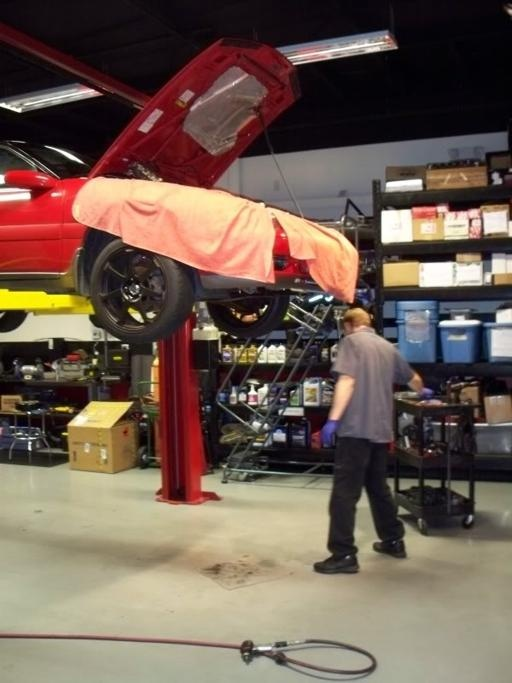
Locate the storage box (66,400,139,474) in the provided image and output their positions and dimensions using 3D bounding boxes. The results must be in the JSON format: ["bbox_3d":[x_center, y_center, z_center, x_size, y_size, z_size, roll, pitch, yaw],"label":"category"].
[{"bbox_3d":[-1.602,1.017,6.673,0.712,0.695,0.529,-2,-1,27],"label":"storage box"}]

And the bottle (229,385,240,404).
[{"bbox_3d":[-0.229,0.551,6.399,0.096,0.184,0.295,-1,-1,-3],"label":"bottle"}]

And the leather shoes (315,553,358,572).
[{"bbox_3d":[0.464,1.255,3.513,0.266,0.105,0.095,3,-3,5],"label":"leather shoes"}]

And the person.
[{"bbox_3d":[0.616,0.626,3.590,0.376,1.355,0.612,-2,-2,41],"label":"person"}]

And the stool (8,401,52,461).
[{"bbox_3d":[-2.711,1.042,7.345,0.454,0.638,0.830,-1,-1,-21],"label":"stool"}]

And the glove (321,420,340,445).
[{"bbox_3d":[0.411,0.509,3.470,0.094,0.160,0.222,-1,-1,5],"label":"glove"}]

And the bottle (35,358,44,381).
[{"bbox_3d":[-2.681,0.354,7.648,0.087,0.247,0.385,-1,-1,-19],"label":"bottle"}]

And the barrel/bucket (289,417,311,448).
[{"bbox_3d":[0.446,0.939,6.456,0.309,0.314,0.260,0,1,11],"label":"barrel/bucket"}]
